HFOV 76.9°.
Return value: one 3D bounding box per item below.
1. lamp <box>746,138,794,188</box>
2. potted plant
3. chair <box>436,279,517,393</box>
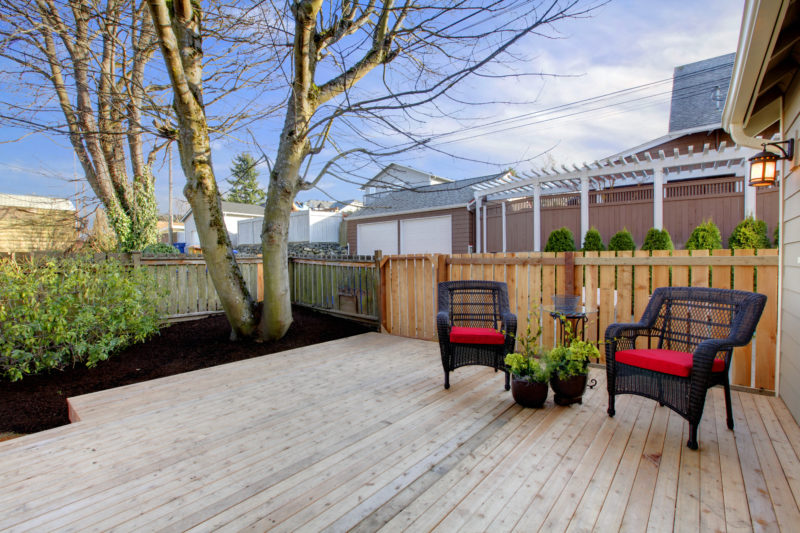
[{"bbox_3d":[4.873,-1.352,6.624,0.443,0.587,0.576,7,14,33],"label":"lamp"},{"bbox_3d":[2.089,1.170,7.026,1.143,1.151,1.438,2,12,14],"label":"potted plant"},{"bbox_3d":[1.097,0.971,7.349,1.057,1.336,1.063,0,12,4],"label":"chair"}]
